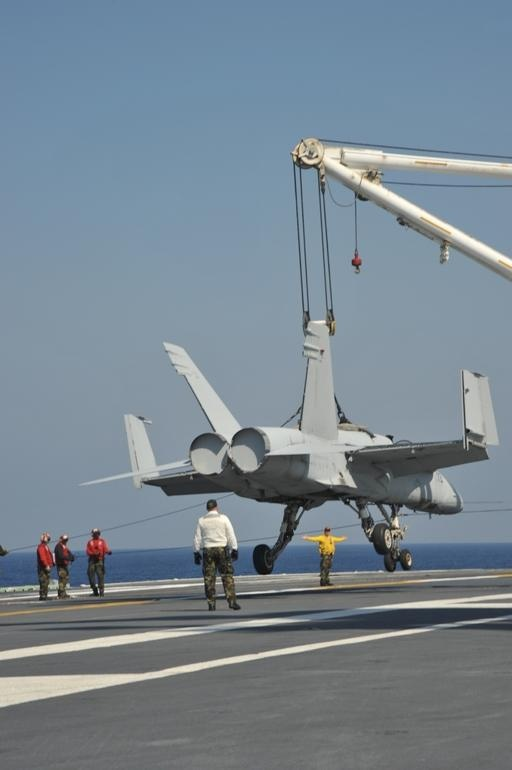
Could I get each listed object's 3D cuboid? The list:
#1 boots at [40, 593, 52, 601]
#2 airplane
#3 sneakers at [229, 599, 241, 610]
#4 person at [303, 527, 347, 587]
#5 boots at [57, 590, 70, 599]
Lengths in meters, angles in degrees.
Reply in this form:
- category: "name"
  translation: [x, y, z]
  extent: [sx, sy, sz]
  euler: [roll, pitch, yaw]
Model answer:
- category: "boots"
  translation: [-4.843, 4.899, 22.047]
  extent: [0.207, 0.091, 0.220]
  euler: [-5, -15, 9]
- category: "airplane"
  translation: [1.867, 1.922, 23.289]
  extent: [7.866, 3.416, 8.035]
  euler: [-7, -13, 41]
- category: "sneakers"
  translation: [-0.349, 3.512, 15.365]
  extent: [0.116, 0.209, 0.321]
  euler: [1, 1, 22]
- category: "person"
  translation: [1.592, 3.885, 21.715]
  extent: [1.346, 1.227, 0.346]
  euler: [11, -16, -43]
- category: "boots"
  translation: [-4.492, 4.966, 22.543]
  extent: [0.346, 0.162, 0.368]
  euler: [1, -12, 9]
